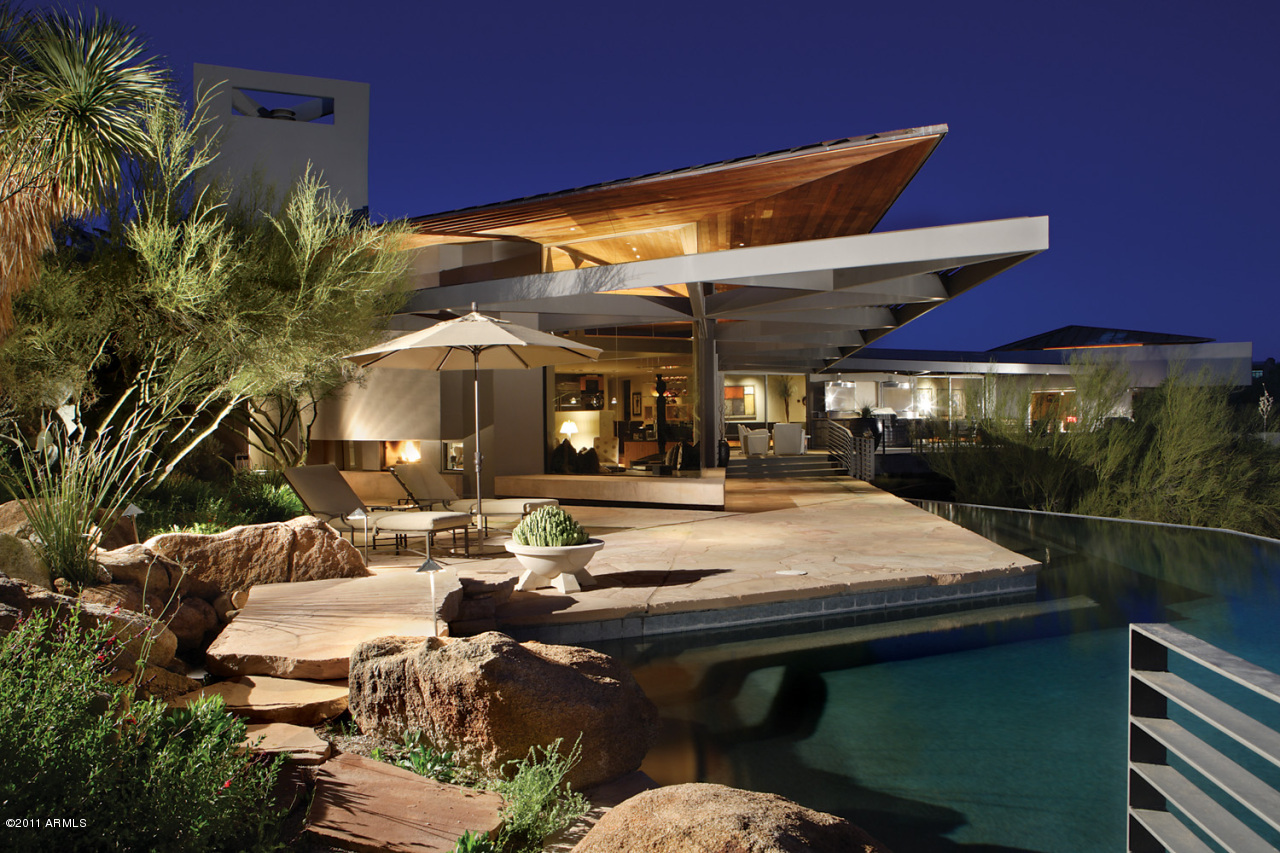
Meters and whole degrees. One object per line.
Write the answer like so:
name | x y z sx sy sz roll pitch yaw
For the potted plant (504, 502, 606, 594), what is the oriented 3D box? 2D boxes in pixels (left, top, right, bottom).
potted plant | -0.895 1.261 8.564 0.914 0.749 0.882 0 -5 8

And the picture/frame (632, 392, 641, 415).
picture/frame | -0.119 -0.766 30.409 0.330 0.813 0.211 1 12 5

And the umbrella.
umbrella | -3.036 -0.029 14.355 4.196 3.345 3.901 -3 -4 12
